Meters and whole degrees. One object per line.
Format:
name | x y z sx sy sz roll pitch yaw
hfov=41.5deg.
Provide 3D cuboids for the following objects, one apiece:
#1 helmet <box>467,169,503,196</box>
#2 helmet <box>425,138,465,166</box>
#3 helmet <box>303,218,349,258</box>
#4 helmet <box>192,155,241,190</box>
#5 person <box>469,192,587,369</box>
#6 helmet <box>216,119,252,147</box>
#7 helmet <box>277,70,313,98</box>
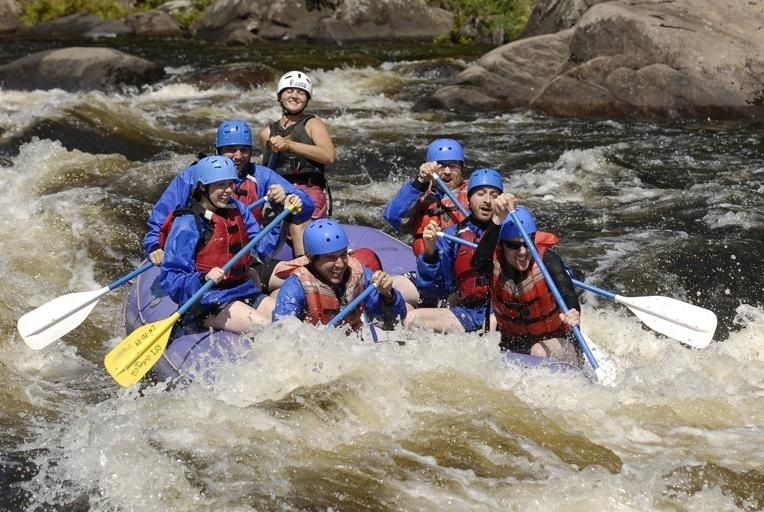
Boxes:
helmet | 1.189 -0.865 11.933 0.257 0.357 0.270 4 56 2
helmet | 0.774 -1.298 12.532 0.352 0.214 0.321 2 0 9
helmet | -0.694 -0.187 11.428 0.348 0.455 0.354 -11 76 -41
helmet | -1.929 -0.965 11.579 0.497 0.300 0.287 -9 35 -6
person | 1.677 0.222 11.418 0.803 1.740 1.319 -31 43 -33
helmet | -1.823 -1.476 12.341 0.304 0.391 0.288 -1 7 -11
helmet | -1.109 -2.193 12.997 0.290 0.408 0.316 5 51 -2
